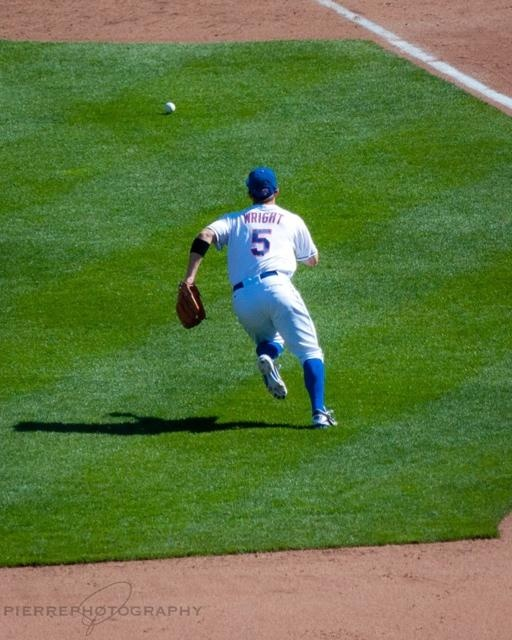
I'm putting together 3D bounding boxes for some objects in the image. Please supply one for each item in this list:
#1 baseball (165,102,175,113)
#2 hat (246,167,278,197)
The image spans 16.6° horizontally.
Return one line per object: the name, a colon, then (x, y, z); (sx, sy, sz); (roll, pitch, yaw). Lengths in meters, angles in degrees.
baseball: (-1.091, -2.589, 21.502); (0.105, 0.107, 0.125); (12, 64, -39)
hat: (0.032, -1.276, 16.085); (0.181, 0.187, 0.305); (-1, 37, -1)
